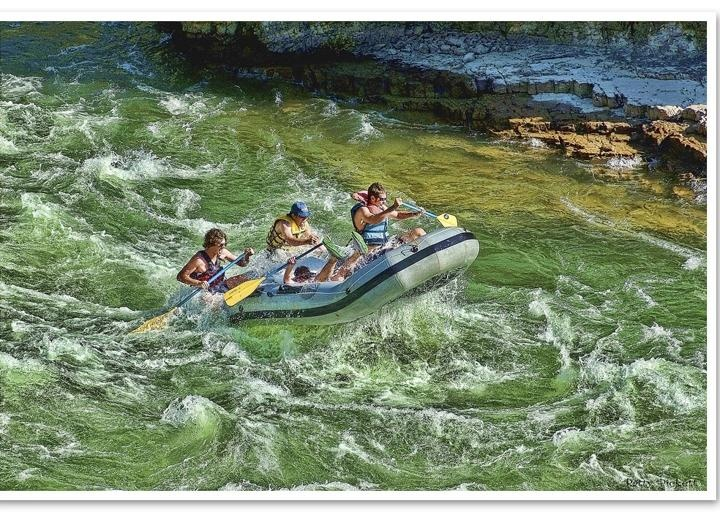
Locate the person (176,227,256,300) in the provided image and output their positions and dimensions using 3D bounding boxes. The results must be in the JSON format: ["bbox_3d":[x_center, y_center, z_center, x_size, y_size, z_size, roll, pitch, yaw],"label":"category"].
[{"bbox_3d":[-2.932,0.252,17.738,0.976,1.447,1.016,5,29,22],"label":"person"}]

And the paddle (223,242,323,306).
[{"bbox_3d":[-1.646,0.431,17.136,2.219,0.095,0.314,-31,33,-23],"label":"paddle"}]

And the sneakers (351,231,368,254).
[{"bbox_3d":[-0.012,-0.187,16.500,0.527,0.198,0.216,56,19,20],"label":"sneakers"}]

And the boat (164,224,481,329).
[{"bbox_3d":[-0.109,0.708,16.613,4.078,0.868,1.963,-22,-20,23],"label":"boat"}]

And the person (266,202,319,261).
[{"bbox_3d":[-1.372,-0.422,17.770,0.823,1.243,0.566,37,54,9],"label":"person"}]

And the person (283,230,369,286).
[{"bbox_3d":[-0.564,0.230,16.829,1.581,0.606,0.894,-31,5,27],"label":"person"}]

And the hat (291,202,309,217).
[{"bbox_3d":[-1.178,-0.878,17.048,0.385,0.203,0.248,8,18,30],"label":"hat"}]

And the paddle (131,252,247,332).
[{"bbox_3d":[-3.397,0.842,17.548,2.426,0.100,0.264,-36,26,1],"label":"paddle"}]

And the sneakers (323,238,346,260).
[{"bbox_3d":[-0.510,-0.086,17.022,0.493,0.205,0.172,45,39,-2],"label":"sneakers"}]

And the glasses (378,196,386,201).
[{"bbox_3d":[0.442,-1.061,16.479,0.088,0.059,0.085,1,1,-15],"label":"glasses"}]

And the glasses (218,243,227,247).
[{"bbox_3d":[-2.699,-0.209,17.045,0.130,0.042,0.121,18,1,33],"label":"glasses"}]
